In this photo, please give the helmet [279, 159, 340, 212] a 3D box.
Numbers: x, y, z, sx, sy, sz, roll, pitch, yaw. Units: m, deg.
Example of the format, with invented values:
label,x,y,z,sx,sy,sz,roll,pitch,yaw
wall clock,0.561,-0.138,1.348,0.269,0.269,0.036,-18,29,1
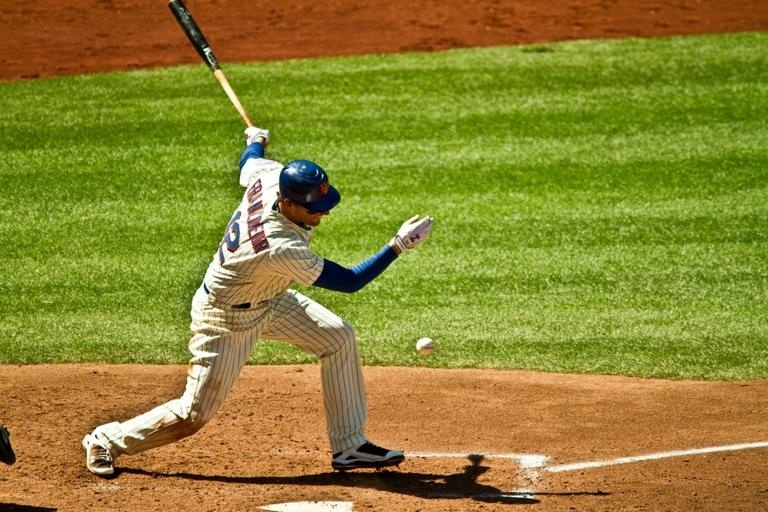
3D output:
label,x,y,z,sx,sy,sz,roll,pitch,yaw
helmet,-0.781,-0.744,15.352,0.698,0.343,0.447,23,42,-1
